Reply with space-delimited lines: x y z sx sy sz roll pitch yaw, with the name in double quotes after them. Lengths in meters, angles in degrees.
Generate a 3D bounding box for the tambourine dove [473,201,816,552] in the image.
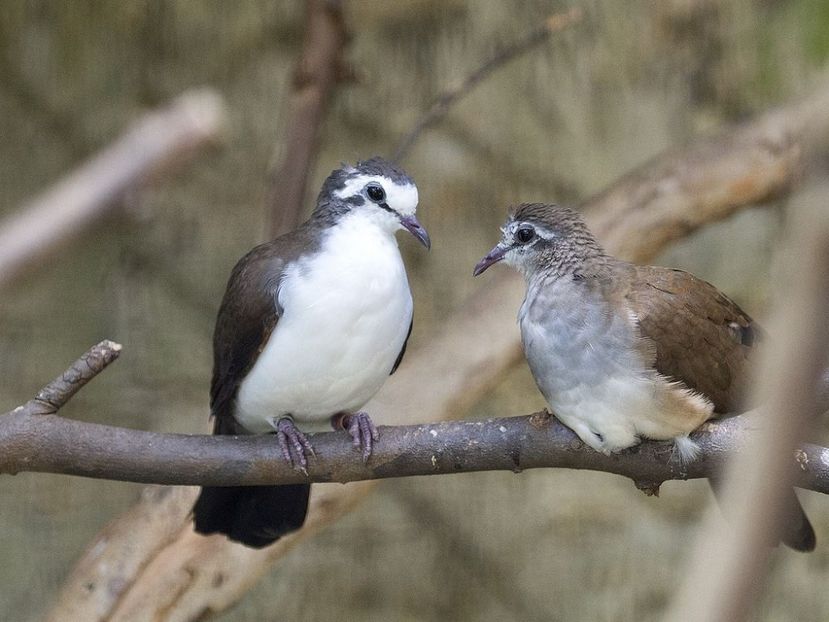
0.626 0.096 3.158 0.896 0.967 0.458 -17 9 -34 "tambourine dove"
